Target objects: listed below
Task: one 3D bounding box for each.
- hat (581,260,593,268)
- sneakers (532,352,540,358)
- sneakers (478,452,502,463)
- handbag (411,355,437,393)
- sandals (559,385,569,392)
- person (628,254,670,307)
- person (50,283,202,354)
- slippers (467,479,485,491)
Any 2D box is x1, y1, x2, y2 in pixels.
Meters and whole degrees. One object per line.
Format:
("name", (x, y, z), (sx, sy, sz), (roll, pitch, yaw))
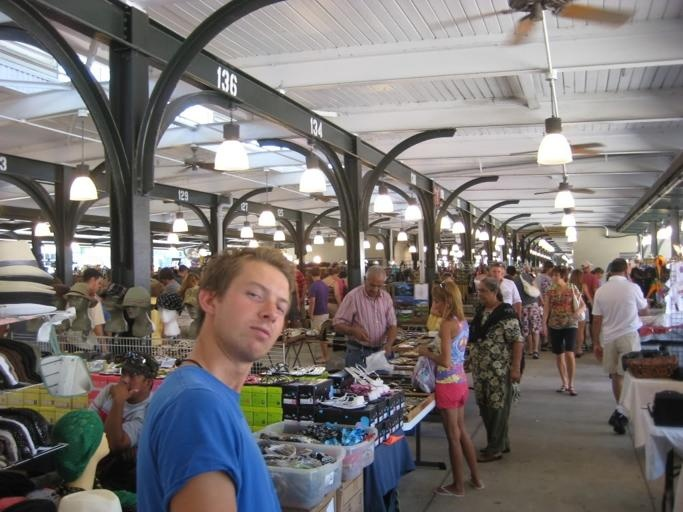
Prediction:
("hat", (8.293, 0.264, 16.826), (0.209, 0.351, 0.228), (9, -19, -8))
("sneakers", (4.381, 2.262, 11.159), (0.109, 0.103, 0.285), (-6, -22, 21))
("sneakers", (1.655, 2.277, 5.572), (0.269, 0.091, 0.096), (5, -6, -6))
("handbag", (0.800, 1.178, 4.938), (0.138, 0.303, 0.304), (-2, 0, -32))
("sandals", (3.653, 2.181, 8.142), (0.131, 0.096, 0.362), (2, -3, 21))
("person", (6.849, 0.568, 11.016), (1.188, 1.358, 0.575), (2, 1, -15))
("person", (-1.971, 0.603, 4.234), (1.021, 0.412, 0.955), (4, -9, 0))
("slippers", (1.348, 2.285, 4.940), (0.075, 0.049, 0.132), (-1, -5, -35))
